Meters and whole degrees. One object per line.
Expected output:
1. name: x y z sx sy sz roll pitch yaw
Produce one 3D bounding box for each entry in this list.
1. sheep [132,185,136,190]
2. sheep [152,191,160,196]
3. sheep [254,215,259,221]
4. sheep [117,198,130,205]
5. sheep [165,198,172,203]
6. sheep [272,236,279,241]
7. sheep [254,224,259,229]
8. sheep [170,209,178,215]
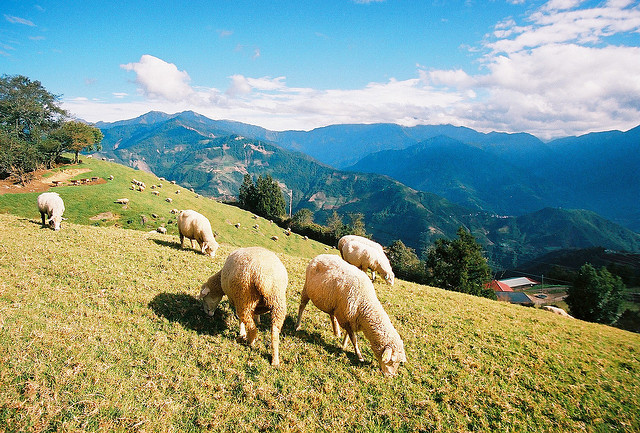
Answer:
1. sheep: -34.555 -5.313 70.510 0.678 0.894 1.386 -1 1 -35
2. sheep: -30.740 -4.296 71.123 1.109 0.598 1.160 5 7 -25
3. sheep: -14.333 0.369 85.675 1.021 0.516 0.971 16 14 -14
4. sheep: -30.610 -2.286 59.374 1.683 0.830 1.196 2 9 -43
5. sheep: -27.518 -2.875 69.479 0.878 0.618 1.663 5 7 -23
6. sheep: -8.333 4.350 73.258 1.293 0.649 1.383 4 8 -31
7. sheep: -12.981 2.056 77.713 0.658 0.697 0.812 7 -27 -5
8. sheep: -24.373 -0.720 63.361 0.952 0.517 1.237 3 6 -24
